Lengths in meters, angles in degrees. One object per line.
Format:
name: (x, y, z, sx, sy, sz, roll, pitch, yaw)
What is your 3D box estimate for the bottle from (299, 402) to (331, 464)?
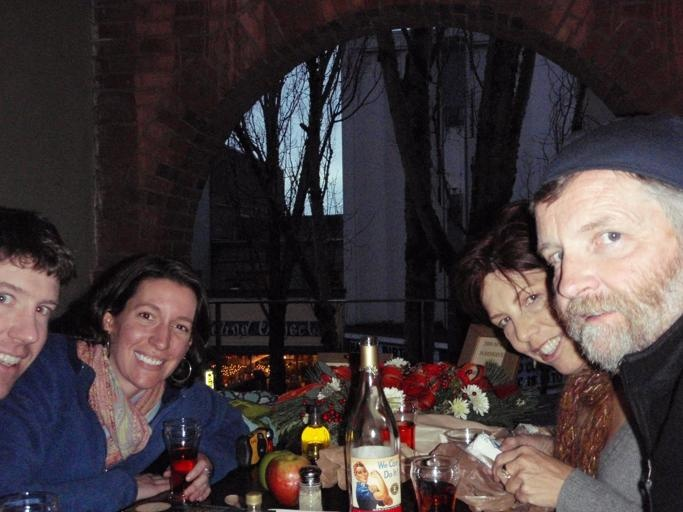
bottle: (-0.106, 0.714, 2.979, 0.113, 0.236, 0.215, 3, -13, -14)

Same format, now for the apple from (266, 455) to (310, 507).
apple: (-0.216, 0.826, 2.744, 0.152, 0.149, 0.151, 2, 12, -32)

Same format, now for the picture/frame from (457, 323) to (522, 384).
picture/frame: (0.774, 0.507, 3.846, 0.085, 0.309, 0.324, 4, 1, -36)

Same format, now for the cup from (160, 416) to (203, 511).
cup: (-0.634, 0.798, 2.847, 0.133, 0.296, 0.180, -1, -13, 4)

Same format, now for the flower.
flower: (0.280, 0.726, 3.395, 1.110, 0.429, 1.098, 1, -11, -30)

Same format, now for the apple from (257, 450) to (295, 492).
apple: (-0.260, 0.798, 2.808, 0.152, 0.150, 0.152, 6, -1, 4)
